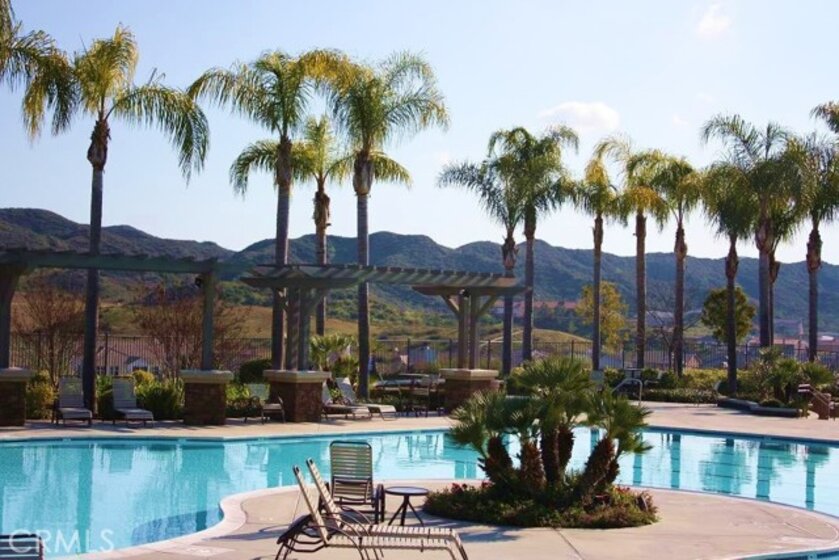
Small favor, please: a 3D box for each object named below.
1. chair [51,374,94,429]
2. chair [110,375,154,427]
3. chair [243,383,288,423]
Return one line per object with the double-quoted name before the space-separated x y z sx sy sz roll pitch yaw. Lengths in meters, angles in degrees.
"chair" -9.671 3.255 31.824 0.694 1.357 1.809 4 -14 -24
"chair" -8.255 3.164 32.209 0.687 1.608 2.261 2 -20 -22
"chair" -4.639 3.663 34.078 0.727 1.165 1.372 3 -6 -31
